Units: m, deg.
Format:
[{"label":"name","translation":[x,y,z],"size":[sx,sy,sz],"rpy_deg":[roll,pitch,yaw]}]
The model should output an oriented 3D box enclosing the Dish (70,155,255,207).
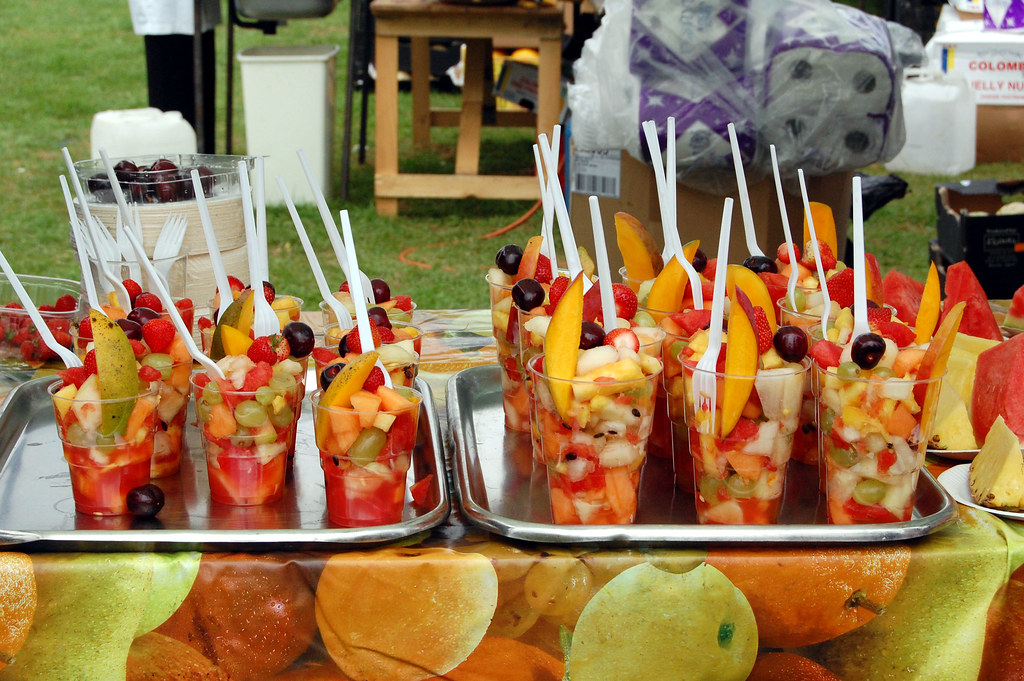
[{"label":"Dish","translation":[-0.960,-0.388,2.937],"size":[0.348,0.111,0.306],"rpy_deg":[-4,-10,33]}]
